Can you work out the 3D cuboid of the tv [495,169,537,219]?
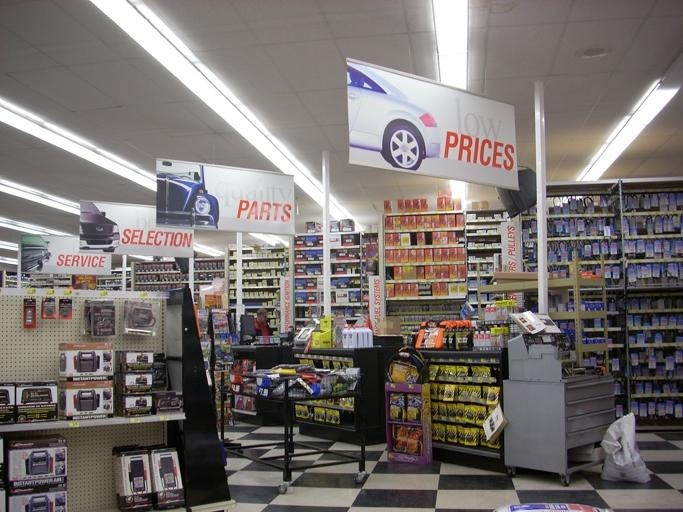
[{"bbox_3d":[2.530,-0.972,8.281,0.712,0.759,0.382,4,-10,-39],"label":"tv"}]

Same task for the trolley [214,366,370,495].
[{"bbox_3d":[-0.497,2.027,6.293,1.156,1.348,1.790,5,-8,-35],"label":"trolley"}]

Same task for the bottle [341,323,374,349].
[{"bbox_3d":[0.228,1.032,7.352,0.290,0.291,0.278,6,-12,-29],"label":"bottle"}]

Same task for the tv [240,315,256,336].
[{"bbox_3d":[-1.725,1.276,10.554,0.300,0.462,0.312,0,-6,-5],"label":"tv"}]
